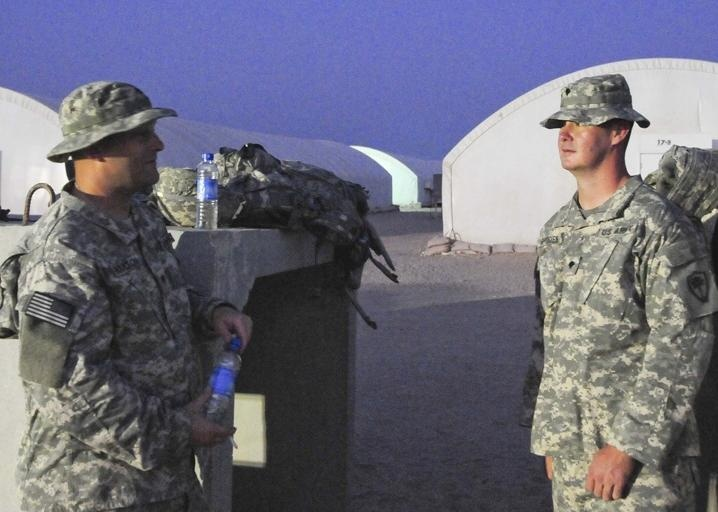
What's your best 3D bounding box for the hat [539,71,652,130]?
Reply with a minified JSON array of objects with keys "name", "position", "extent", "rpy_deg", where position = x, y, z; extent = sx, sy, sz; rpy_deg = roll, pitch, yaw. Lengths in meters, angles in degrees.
[{"name":"hat","position":[1.028,-0.658,3.624],"extent":[0.320,0.168,0.304],"rpy_deg":[0,1,-40]}]
